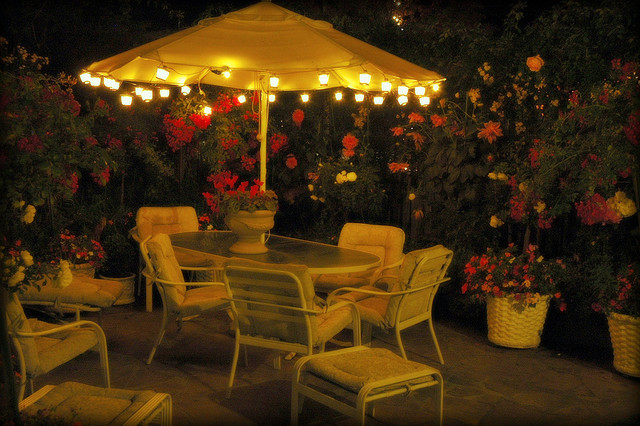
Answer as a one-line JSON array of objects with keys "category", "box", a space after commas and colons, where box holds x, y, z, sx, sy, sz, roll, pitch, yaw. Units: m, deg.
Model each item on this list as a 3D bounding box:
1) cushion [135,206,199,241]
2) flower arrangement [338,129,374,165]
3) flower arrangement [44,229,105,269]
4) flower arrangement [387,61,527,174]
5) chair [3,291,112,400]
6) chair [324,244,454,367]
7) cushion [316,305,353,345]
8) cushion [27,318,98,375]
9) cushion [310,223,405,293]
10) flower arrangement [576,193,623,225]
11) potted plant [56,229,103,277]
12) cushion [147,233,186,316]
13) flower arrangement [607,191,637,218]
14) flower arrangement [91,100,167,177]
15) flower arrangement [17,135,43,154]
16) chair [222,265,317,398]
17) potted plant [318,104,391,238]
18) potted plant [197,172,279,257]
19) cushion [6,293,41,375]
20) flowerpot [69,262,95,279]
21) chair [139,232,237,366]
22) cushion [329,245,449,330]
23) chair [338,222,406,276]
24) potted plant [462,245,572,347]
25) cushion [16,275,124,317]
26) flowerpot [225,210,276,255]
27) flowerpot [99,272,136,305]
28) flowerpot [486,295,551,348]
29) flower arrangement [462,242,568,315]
[{"category": "cushion", "box": [-2.067, 0.037, 7.119, 0.811, 0.285, 0.773, -2, -2, -27]}, {"category": "flower arrangement", "box": [0.507, -0.905, 7.591, 0.476, 0.513, 0.506, -1, -7, 4]}, {"category": "flower arrangement", "box": [-3.028, 0.454, 6.596, 0.708, 0.543, 0.681, 6, 0, -1]}, {"category": "flower arrangement", "box": [1.812, -1.073, 6.533, 1.289, 0.732, 0.840, 4, 8, -40]}, {"category": "chair", "box": [-2.032, 0.967, 4.355, 0.876, 1.042, 0.802, -1, 7, -34]}, {"category": "chair", "box": [0.673, 0.841, 5.155, 0.896, 1.120, 1.083, -5, 9, -44]}, {"category": "cushion", "box": [0.121, 0.942, 4.611, 0.315, 0.098, 0.312, -21, 8, -16]}, {"category": "cushion", "box": [-1.967, 1.013, 4.166, 0.483, 0.168, 0.473, 15, 18, 39]}, {"category": "cushion", "box": [0.504, 0.423, 5.930, 0.897, 0.738, 0.903, 14, -29, -7]}, {"category": "flower arrangement", "box": [2.631, -0.029, 5.058, 0.295, 0.251, 0.279, 0, -4, -27]}, {"category": "potted plant", "box": [-2.855, 0.472, 6.367, 0.507, 0.366, 0.496, 25, 4, 7]}, {"category": "cushion", "box": [-1.470, 0.498, 5.336, 0.249, 0.552, 0.580, -3, 0, -16]}, {"category": "flower arrangement", "box": [2.739, -0.076, 4.854, 0.220, 0.233, 0.095, -22, -23, 10]}, {"category": "flower arrangement", "box": [-2.861, -1.083, 8.229, 0.976, 1.317, 1.207, 7, 15, -16]}, {"category": "flower arrangement", "box": [-2.958, -0.718, 5.471, 0.177, 0.109, 0.189, 12, 13, 39]}, {"category": "chair", "box": [-0.307, 0.936, 4.653, 0.812, 1.276, 0.869, 4, 13, 20]}, {"category": "potted plant", "box": [0.471, -0.592, 7.467, 1.040, 1.893, 0.595, 6, 5, 17]}, {"category": "potted plant", "box": [-0.808, 0.014, 5.475, 0.707, 0.789, 0.661, 1, 3, 6]}, {"category": "cushion", "box": [-2.023, 0.856, 3.863, 0.145, 0.468, 0.454, -12, 6, -15]}, {"category": "flowerpot", "box": [-2.891, 0.700, 6.530, 0.285, 0.179, 0.289, -3, 1, 0]}, {"category": "chair", "box": [-1.203, 0.779, 5.171, 0.887, 0.959, 0.728, 3, 5, -12]}, {"category": "cushion", "box": [0.624, 0.664, 5.122, 1.026, 0.784, 0.788, 7, 5, 32]}, {"category": "chair", "box": [0.611, 0.487, 6.077, 0.580, 0.607, 0.611, 6, -19, 17]}, {"category": "potted plant", "box": [2.121, 0.899, 5.785, 0.926, 0.972, 0.749, 1, -2, 42]}, {"category": "cushion", "box": [-2.301, 0.750, 5.085, 0.814, 0.172, 0.473, 4, 6, 1]}, {"category": "flowerpot", "box": [-0.729, 0.171, 5.471, 0.540, 0.474, 0.575, 2, 6, -17]}, {"category": "flowerpot", "box": [-2.532, 0.921, 6.703, 0.444, 0.341, 0.400, 1, 2, -43]}, {"category": "flowerpot", "box": [2.135, 1.128, 5.814, 0.730, 0.582, 0.727, 5, -12, 16]}, {"category": "flower arrangement", "box": [2.192, 0.759, 5.883, 1.001, 0.746, 1.241, -4, -13, -1]}]
